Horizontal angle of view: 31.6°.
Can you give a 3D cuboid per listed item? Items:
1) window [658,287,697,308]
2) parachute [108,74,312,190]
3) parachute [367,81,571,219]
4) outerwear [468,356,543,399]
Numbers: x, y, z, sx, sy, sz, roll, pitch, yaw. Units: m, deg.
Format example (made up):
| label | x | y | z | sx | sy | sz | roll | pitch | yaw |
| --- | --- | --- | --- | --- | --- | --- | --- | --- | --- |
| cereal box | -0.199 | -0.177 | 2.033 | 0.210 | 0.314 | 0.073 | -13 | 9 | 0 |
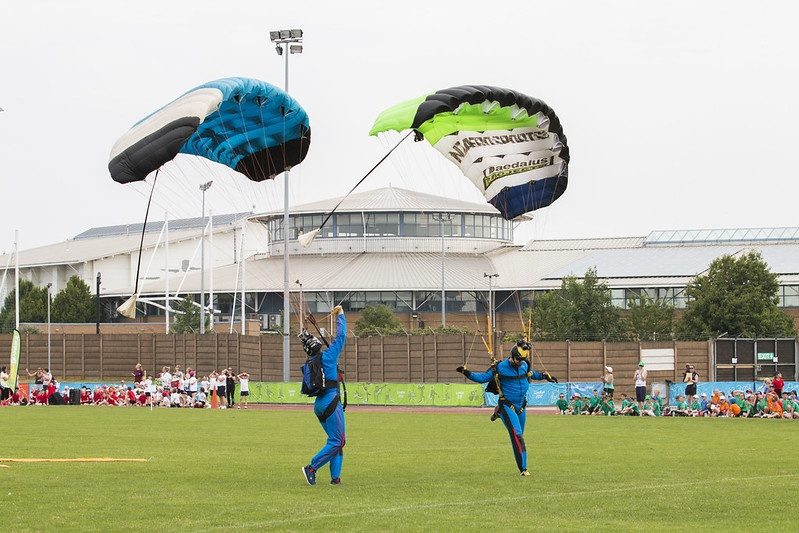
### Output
| label | x | y | z | sx | sy | sz | roll | pitch | yaw |
| --- | --- | --- | --- | --- | --- | --- | --- | --- | --- |
| window | 18.105 | 1.983 | 92.134 | 1.728 | 1.116 | 0.058 | 1 | 6 | 10 |
| parachute | -6.643 | -4.879 | 51.615 | 6.288 | 3.648 | 3.927 | 6 | -12 | -40 |
| parachute | 3.248 | -4.155 | 51.043 | 5.673 | 4.081 | 3.215 | 0 | -10 | -9 |
| outerwear | 3.983 | 4.158 | 52.109 | 3.673 | 1.556 | 1.259 | 0 | -7 | -25 |
